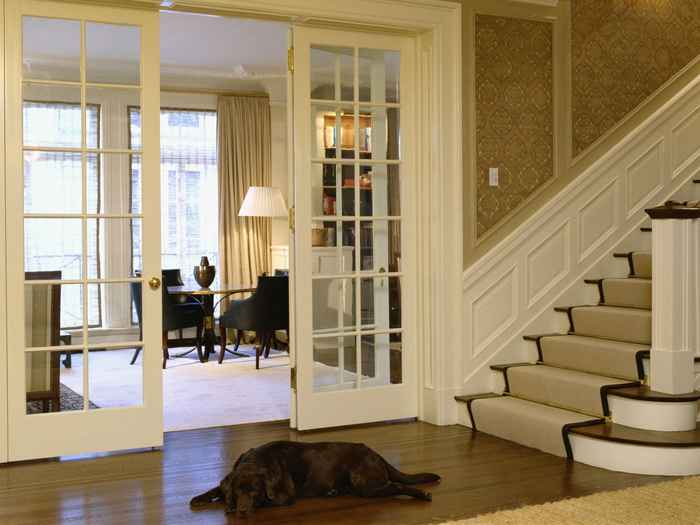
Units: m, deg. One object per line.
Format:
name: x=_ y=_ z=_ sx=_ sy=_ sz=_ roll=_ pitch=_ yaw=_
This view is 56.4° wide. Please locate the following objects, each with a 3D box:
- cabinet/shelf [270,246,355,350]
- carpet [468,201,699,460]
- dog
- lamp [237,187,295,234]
cabinet/shelf: x=-0.679 y=0.356 z=8.761 sx=0.645 sy=1.085 sz=0.683 roll=11 pitch=18 yaw=25
carpet: x=1.725 y=0.609 z=5.097 sx=2.223 sy=1.424 sz=1.149 roll=-3 pitch=3 yaw=-33
dog: x=-0.139 y=1.152 z=3.757 sx=1.088 sy=0.307 sz=0.530 roll=2 pitch=-20 yaw=-21
lamp: x=-1.118 y=-0.749 z=8.452 sx=0.752 sy=0.395 sz=0.715 roll=0 pitch=1 yaw=19
